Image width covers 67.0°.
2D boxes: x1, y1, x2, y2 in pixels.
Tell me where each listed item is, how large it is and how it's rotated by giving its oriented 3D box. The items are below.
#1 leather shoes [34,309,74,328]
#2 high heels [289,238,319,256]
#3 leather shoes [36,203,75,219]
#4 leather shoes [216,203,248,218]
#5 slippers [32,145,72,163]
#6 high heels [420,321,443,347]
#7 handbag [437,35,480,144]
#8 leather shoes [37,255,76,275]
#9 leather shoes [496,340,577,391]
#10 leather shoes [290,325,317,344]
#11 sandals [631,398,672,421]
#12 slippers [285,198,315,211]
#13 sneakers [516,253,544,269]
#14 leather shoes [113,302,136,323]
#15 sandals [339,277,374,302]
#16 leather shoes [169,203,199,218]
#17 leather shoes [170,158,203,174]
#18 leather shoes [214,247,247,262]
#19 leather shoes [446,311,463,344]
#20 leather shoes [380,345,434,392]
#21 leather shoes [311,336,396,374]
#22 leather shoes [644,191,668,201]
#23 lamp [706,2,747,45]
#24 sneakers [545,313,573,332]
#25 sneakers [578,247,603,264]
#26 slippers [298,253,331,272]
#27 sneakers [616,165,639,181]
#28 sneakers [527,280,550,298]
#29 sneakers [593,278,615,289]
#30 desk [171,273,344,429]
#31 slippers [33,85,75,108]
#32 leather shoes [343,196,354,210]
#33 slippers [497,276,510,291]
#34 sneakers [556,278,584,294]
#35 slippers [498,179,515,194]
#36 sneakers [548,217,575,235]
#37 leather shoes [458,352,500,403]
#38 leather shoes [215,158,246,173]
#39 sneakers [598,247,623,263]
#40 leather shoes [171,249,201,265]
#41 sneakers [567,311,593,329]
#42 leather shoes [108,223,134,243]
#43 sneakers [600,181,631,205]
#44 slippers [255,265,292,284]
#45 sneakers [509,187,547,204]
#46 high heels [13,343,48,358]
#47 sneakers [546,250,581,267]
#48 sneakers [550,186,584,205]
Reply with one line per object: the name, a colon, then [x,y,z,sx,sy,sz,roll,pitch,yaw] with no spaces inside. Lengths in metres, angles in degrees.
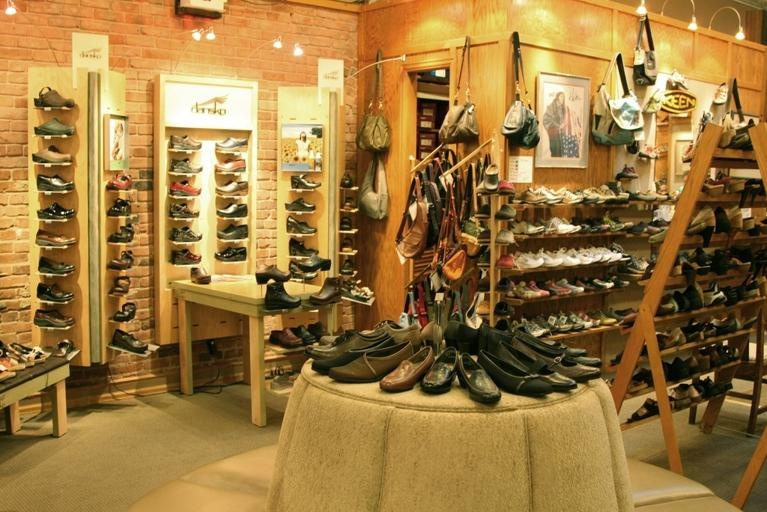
leather shoes: [-2.947,0.557,5.188,0.293,0.122,0.158,1,1,-4]
high heels: [-0.827,-0.088,6.312,0.434,0.227,0.142,0,2,-6]
leather shoes: [-2.882,-0.386,5.124,0.333,0.141,0.119,-2,4,-8]
leather shoes: [-1.544,-0.473,5.971,0.332,0.134,0.121,1,4,-33]
slippers: [-2.903,-0.898,5.092,0.281,0.123,0.148,-1,5,-5]
high heels: [0.214,0.343,2.590,0.109,0.122,0.090,3,9,16]
handbag: [0.742,-1.650,5.780,0.365,1.046,0.455,-2,9,-15]
leather shoes: [-2.984,0.089,5.227,0.360,0.139,0.125,3,7,7]
leather shoes: [0.602,0.437,2.336,0.327,0.091,0.111,25,12,30]
leather shoes: [-0.786,0.760,5.649,0.117,0.135,0.336,-4,4,-35]
sandals: [2.050,1.182,4.484,0.359,0.141,0.117,-2,-2,-31]
slippers: [-0.894,-0.555,6.209,0.391,0.156,0.127,0,1,3]
sneakers: [1.377,0.044,5.497,0.151,0.082,0.225,-4,5,-45]
leather shoes: [-2.450,0.543,5.524,0.130,0.118,0.198,2,3,15]
sandals: [-0.292,0.331,5.732,0.219,0.104,0.298,-4,8,-42]
leather shoes: [-2.009,-0.451,5.785,0.313,0.133,0.108,-3,6,-33]
leather shoes: [-1.962,-0.887,5.722,0.326,0.138,0.115,-4,10,-31]
leather shoes: [-1.577,-0.021,6.048,0.339,0.137,0.121,1,3,-34]
leather shoes: [0.320,0.317,2.626,0.056,0.065,0.151,1,8,9]
leather shoes: [0.099,0.448,2.296,0.099,0.083,0.277,-1,15,37]
leather shoes: [-0.121,0.387,2.487,0.383,0.133,0.131,-16,-2,-24]
leather shoes: [2.947,-0.648,6.297,0.317,0.119,0.111,1,7,5]
lamp: [5.287,-3.672,8.907,0.983,0.441,0.197,-6,11,-37]
sneakers: [1.727,0.662,5.696,0.119,0.135,0.303,0,-1,-25]
sneakers: [2.076,-0.003,5.867,0.124,0.138,0.342,-3,-1,-29]
slippers: [-0.726,0.075,5.714,0.385,0.155,0.157,2,1,-20]
sneakers: [2.702,-0.923,6.435,0.162,0.124,0.269,5,8,43]
sneakers: [1.453,0.318,5.531,0.129,0.093,0.239,-3,10,-29]
sneakers: [2.244,0.286,5.933,0.111,0.069,0.183,2,3,-25]
desk: [-1.194,0.533,5.737,1.241,1.500,2.112,-1,3,-39]
slippers: [-2.885,-1.389,5.057,0.406,0.173,0.153,3,12,11]
leather shoes: [-0.384,-0.612,6.597,0.127,0.136,0.126,0,-1,18]
slippers: [1.141,0.266,5.438,0.113,0.105,0.155,5,10,26]
sneakers: [1.845,0.290,5.778,0.159,0.109,0.271,-2,5,-43]
slippers: [1.079,-0.601,5.089,0.156,0.117,0.165,9,12,43]
sneakers: [1.697,-0.291,5.552,0.179,0.091,0.246,-4,6,-31]
leather shoes: [0.352,0.463,2.193,0.079,0.078,0.218,-3,17,-21]
leather shoes: [-1.567,-0.931,5.965,0.305,0.113,0.119,0,3,-37]
sneakers: [2.265,0.005,5.996,0.391,0.160,0.127,-1,6,-8]
leather shoes: [-1.996,0.018,5.896,0.336,0.143,0.119,-2,5,-22]
sneakers: [1.956,0.644,5.791,0.158,0.090,0.226,-6,10,-34]
leather shoes: [-2.459,-0.205,5.437,0.201,0.127,0.120,0,1,-38]
sneakers: [2.404,-0.661,6.047,0.193,0.228,0.554,-5,0,8]
slippers: [-0.986,0.166,5.175,0.283,0.127,0.153,-2,0,-1]
sneakers: [1.295,-0.562,5.397,0.403,0.171,0.146,1,7,4]
high heels: [-2.949,0.785,4.759,0.318,0.081,0.119,13,10,-15]
sneakers: [1.698,0.024,5.686,0.413,0.160,0.148,0,4,-11]
sneakers: [1.715,-0.587,5.599,0.361,0.140,0.192,7,10,42]
